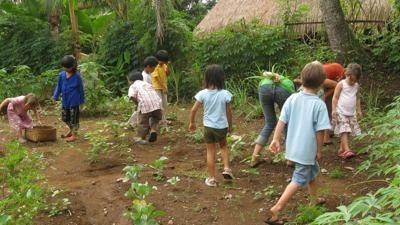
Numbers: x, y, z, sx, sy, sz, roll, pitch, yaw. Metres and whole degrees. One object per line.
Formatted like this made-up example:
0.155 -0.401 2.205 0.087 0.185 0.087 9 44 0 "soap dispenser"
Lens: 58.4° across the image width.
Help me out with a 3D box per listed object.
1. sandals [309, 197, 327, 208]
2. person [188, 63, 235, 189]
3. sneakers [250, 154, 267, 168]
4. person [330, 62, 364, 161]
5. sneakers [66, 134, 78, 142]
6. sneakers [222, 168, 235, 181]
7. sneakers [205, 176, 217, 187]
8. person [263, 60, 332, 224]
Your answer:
2.087 1.604 6.388 0.240 0.151 0.075 -15 51 -7 "sandals"
0.245 0.267 7.258 0.819 2.427 0.518 -3 13 3 "person"
1.244 1.054 7.787 0.150 0.185 0.470 2 3 38 "sneakers"
3.127 -0.037 7.589 0.510 1.972 0.813 7 17 40 "person"
-3.419 0.674 9.594 0.316 0.279 0.139 7 4 -11 "sneakers"
0.565 1.259 7.279 0.130 0.133 0.305 -7 -25 23 "sneakers"
0.224 1.412 7.331 0.227 0.151 0.370 0 -3 -3 "sneakers"
1.730 0.510 6.294 1.263 2.718 0.577 -8 13 -18 "person"
